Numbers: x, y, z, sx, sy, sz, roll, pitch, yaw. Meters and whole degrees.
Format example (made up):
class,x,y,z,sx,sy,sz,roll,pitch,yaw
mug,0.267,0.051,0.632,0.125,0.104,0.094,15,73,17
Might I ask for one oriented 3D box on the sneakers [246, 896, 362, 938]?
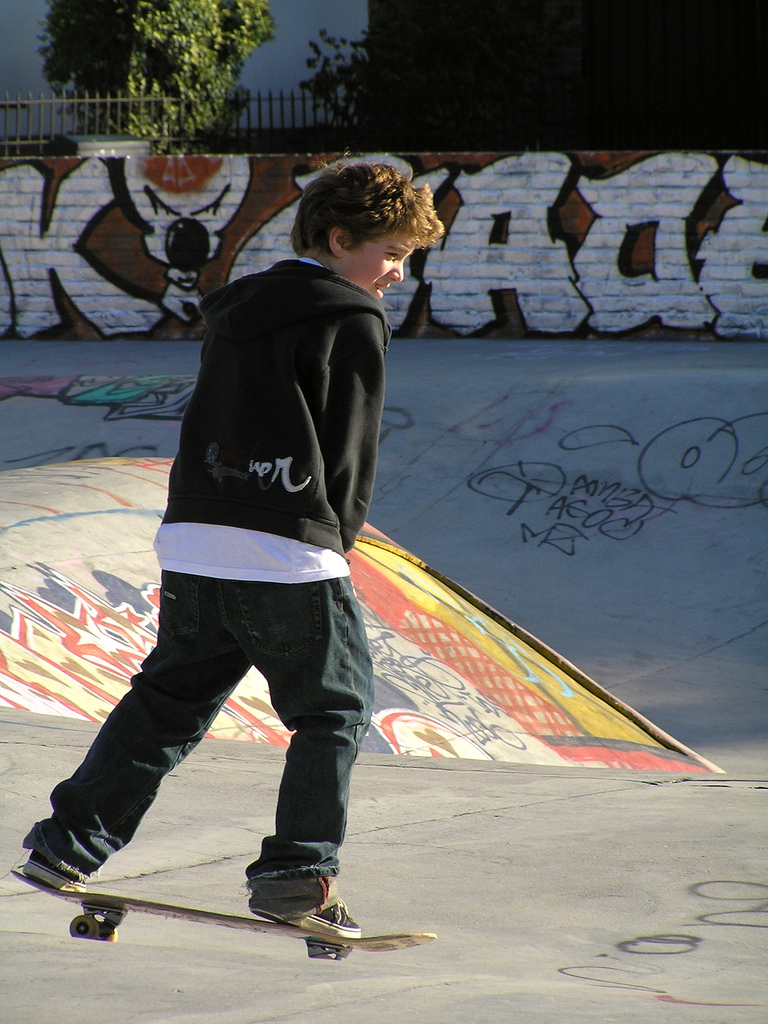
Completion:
class,x,y,z,sx,sy,sz,roll,pitch,yaw
sneakers,-0.113,0.654,2.099,0.199,0.068,0.055,10,32,-15

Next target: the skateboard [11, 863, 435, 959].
class,x,y,z,sx,sy,sz,roll,pitch,yaw
skateboard,-0.291,0.680,2.223,0.758,0.080,0.133,7,-12,5

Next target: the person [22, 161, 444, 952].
class,x,y,z,sx,sy,sz,roll,pitch,yaw
person,-0.250,0.108,2.165,0.560,1.074,0.361,6,7,0
